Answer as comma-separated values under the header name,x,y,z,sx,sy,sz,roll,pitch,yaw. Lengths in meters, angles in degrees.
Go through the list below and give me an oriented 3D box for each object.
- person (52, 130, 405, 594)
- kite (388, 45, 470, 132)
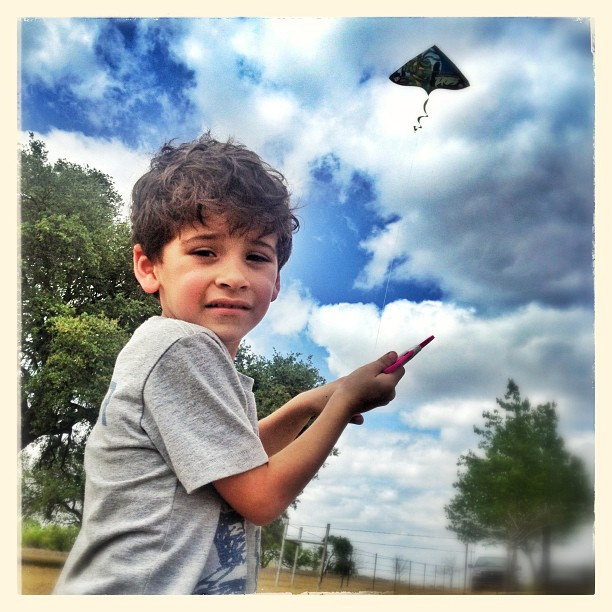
name,x,y,z,sx,sy,sz,roll,pitch,yaw
person,-0.323,0.161,2.688,0.940,2.003,0.566,14,-22,-20
kite,1.313,-2.304,6.800,0.670,1.035,0.658,20,-24,-35
